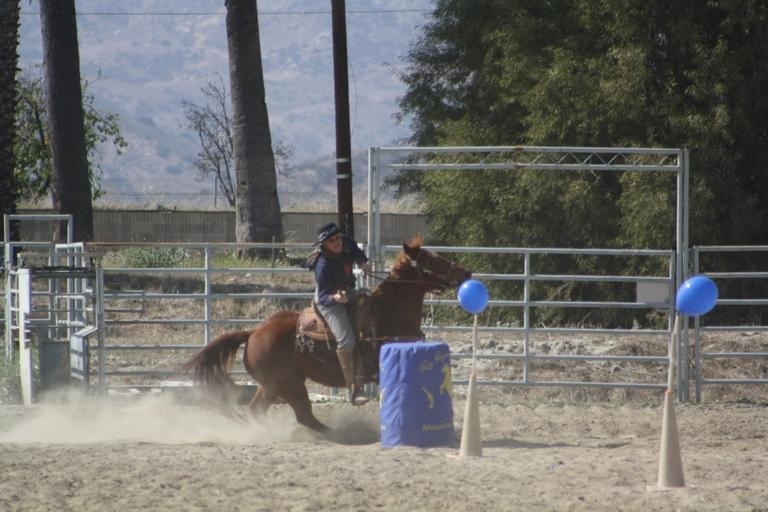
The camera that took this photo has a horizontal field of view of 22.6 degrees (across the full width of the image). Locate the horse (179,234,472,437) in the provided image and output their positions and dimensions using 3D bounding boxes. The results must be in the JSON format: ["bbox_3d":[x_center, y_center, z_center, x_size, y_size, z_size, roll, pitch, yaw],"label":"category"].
[{"bbox_3d":[-1.683,2.218,51.663,11.895,6.931,5.504,-1,-2,11],"label":"horse"}]

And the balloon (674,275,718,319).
[{"bbox_3d":[8.186,1.054,50.209,1.146,1.134,1.060,-12,31,5],"label":"balloon"}]

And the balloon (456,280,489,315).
[{"bbox_3d":[2.388,1.114,51.263,0.813,1.134,0.857,-1,3,-22],"label":"balloon"}]
